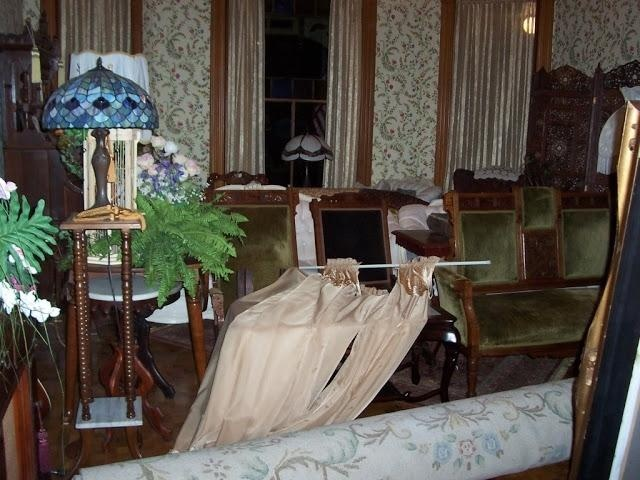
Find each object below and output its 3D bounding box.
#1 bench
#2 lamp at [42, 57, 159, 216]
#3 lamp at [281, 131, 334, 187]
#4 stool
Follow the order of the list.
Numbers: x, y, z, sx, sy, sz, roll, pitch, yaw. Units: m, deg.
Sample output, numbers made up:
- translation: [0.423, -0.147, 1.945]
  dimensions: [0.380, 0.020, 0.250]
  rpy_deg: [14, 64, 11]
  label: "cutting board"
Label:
- translation: [1.512, 0.306, 3.645]
  dimensions: [1.284, 1.089, 0.792]
  rpy_deg: [-3, 21, -4]
  label: "bench"
- translation: [-0.885, -0.415, 2.199]
  dimensions: [0.371, 0.640, 0.312]
  rpy_deg: [3, 8, 21]
  label: "lamp"
- translation: [-0.156, -0.816, 5.914]
  dimensions: [0.574, 0.706, 0.615]
  rpy_deg: [2, 11, 8]
  label: "lamp"
- translation: [-0.955, 0.556, 3.006]
  dimensions: [0.860, 1.045, 0.885]
  rpy_deg: [0, 9, -16]
  label: "stool"
